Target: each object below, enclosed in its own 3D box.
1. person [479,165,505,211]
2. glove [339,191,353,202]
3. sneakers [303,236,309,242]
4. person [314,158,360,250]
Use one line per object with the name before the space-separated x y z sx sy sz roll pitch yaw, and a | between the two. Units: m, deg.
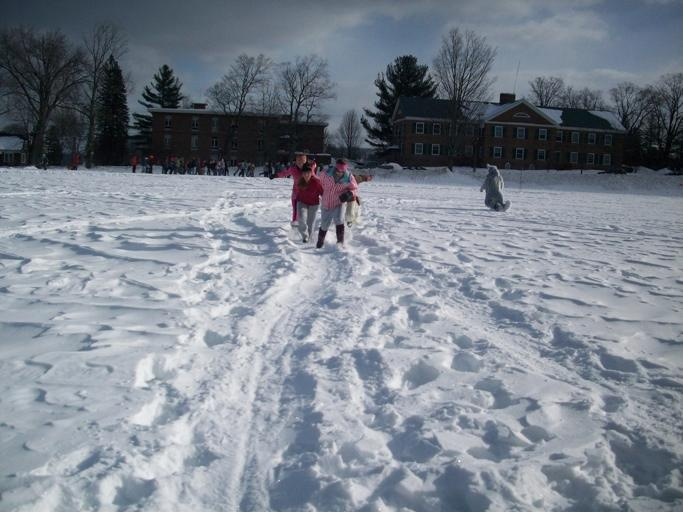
person | 5.182 -2.384 16.687 0.779 1.452 3.666 5 10 16
glove | 0.107 -1.059 8.665 0.290 0.229 0.135 -4 11 -39
sneakers | -0.663 -0.313 9.093 0.093 0.081 0.136 -3 2 33
person | -0.101 -0.925 8.724 0.661 1.580 0.564 2 8 -3
